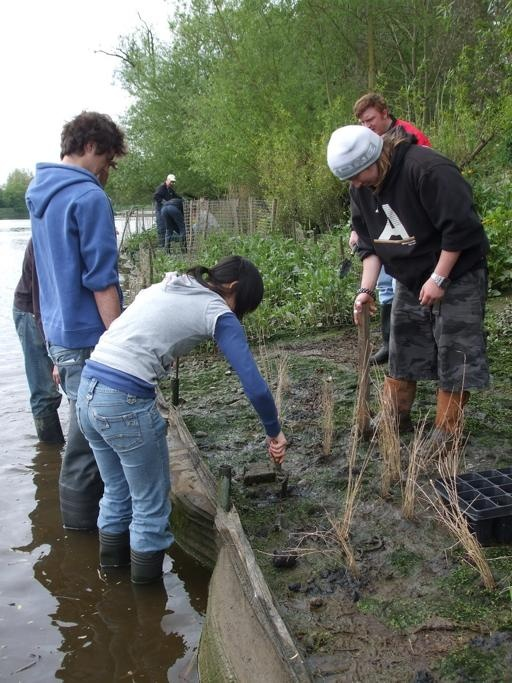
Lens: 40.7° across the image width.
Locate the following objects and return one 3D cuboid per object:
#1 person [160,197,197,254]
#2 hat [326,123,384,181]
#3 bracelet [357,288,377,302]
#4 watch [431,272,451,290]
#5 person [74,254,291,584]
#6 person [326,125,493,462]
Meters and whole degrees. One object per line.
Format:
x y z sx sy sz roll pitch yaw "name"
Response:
-1.642 -2.343 13.723 0.488 1.109 2.111 -4 9 -7 "person"
0.449 -0.860 3.107 0.248 0.241 0.189 -1 10 10 "hat"
0.598 -0.259 3.701 0.070 0.035 0.083 12 -16 40 "bracelet"
0.827 -0.276 3.112 0.084 0.049 0.079 25 -6 -34 "watch"
-0.419 0.340 3.232 1.054 1.387 0.974 -6 11 -34 "person"
0.782 -0.245 3.398 0.693 1.561 0.707 0 11 17 "person"
